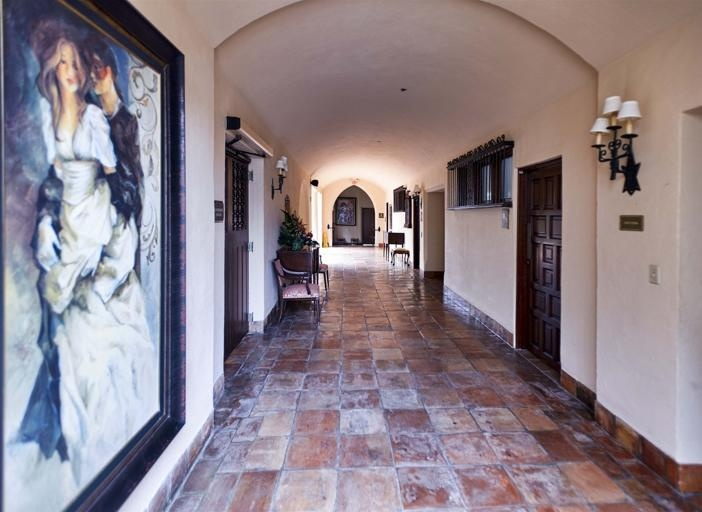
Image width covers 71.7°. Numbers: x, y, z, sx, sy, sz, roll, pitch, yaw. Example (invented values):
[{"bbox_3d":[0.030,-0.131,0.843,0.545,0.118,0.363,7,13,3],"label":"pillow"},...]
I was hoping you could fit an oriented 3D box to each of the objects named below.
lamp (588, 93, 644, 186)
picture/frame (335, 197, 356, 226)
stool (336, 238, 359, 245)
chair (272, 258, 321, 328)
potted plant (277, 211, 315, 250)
[{"bbox_3d":[1.866,-0.791,3.491,0.226,0.677,0.483,0,11,0],"label":"lamp"},{"bbox_3d":[-0.233,-1.856,19.953,0.952,1.494,0.146,2,4,1],"label":"picture/frame"},{"bbox_3d":[-0.130,-0.591,20.107,1.060,0.230,0.323,-2,12,-13],"label":"stool"},{"bbox_3d":[-0.693,0.482,6.586,0.678,1.075,0.697,-1,4,1],"label":"chair"},{"bbox_3d":[-0.792,-0.367,7.141,0.431,0.600,0.864,0,12,-1],"label":"potted plant"}]
